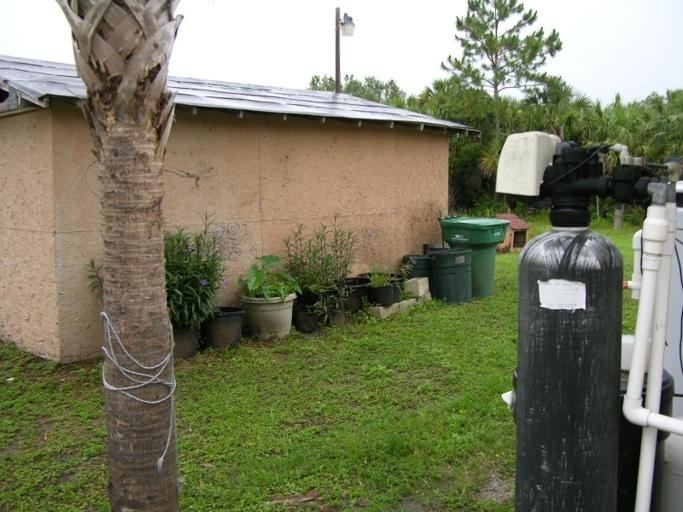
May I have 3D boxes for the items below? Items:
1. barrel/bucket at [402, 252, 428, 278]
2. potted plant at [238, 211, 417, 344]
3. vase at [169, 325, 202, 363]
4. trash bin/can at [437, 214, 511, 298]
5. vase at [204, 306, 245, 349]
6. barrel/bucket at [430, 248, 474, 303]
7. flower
[{"bbox_3d":[1.305,0.158,10.534,0.370,0.405,0.383,0,-2,0],"label":"barrel/bucket"},{"bbox_3d":[-0.417,0.342,9.635,1.023,2.036,3.286,-5,-5,37],"label":"potted plant"},{"bbox_3d":[-1.897,1.073,7.503,0.361,0.419,0.385,1,-1,-4],"label":"vase"},{"bbox_3d":[2.300,-0.055,10.826,1.189,1.578,1.105,0,3,28],"label":"trash bin/can"},{"bbox_3d":[-1.481,0.901,7.871,0.442,0.451,0.468,2,3,35],"label":"vase"},{"bbox_3d":[1.799,0.319,10.237,0.720,0.845,0.773,-1,-2,0],"label":"barrel/bucket"},{"bbox_3d":[-1.887,0.223,7.671,1.009,1.558,1.009,0,-1,-11],"label":"flower"}]
